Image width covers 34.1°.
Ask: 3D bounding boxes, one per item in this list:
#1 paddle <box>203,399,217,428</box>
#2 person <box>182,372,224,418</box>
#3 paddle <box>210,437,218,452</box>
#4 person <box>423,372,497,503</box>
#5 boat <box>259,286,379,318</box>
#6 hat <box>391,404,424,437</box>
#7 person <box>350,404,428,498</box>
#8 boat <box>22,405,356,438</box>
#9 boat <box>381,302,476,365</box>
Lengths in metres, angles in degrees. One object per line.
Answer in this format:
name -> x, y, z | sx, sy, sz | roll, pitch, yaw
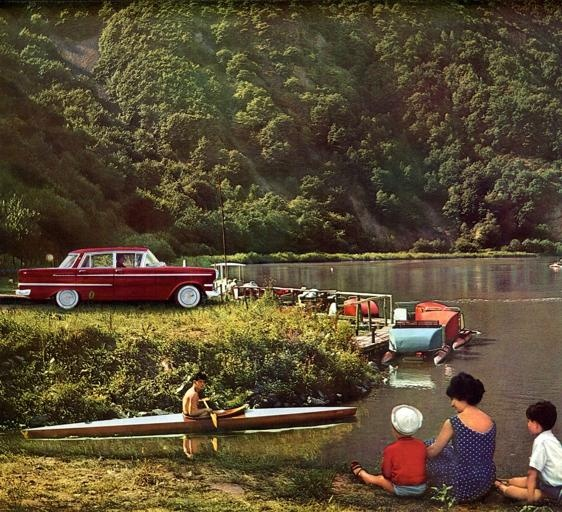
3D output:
paddle -> -1.323, 2.951, 17.088 | 0.276, 0.546, 0.618 | -1, -4, -6
person -> -1.517, 2.571, 16.957 | 0.594, 0.866, 1.784 | 0, -5, -9
paddle -> -1.205, 3.424, 16.638 | 0.155, 0.191, 0.246 | 11, -23, -23
person -> 2.887, 2.888, 14.452 | 1.039, 2.070, 0.653 | -1, -4, 9
boat -> 1.220, 1.323, 26.049 | 3.676, 0.904, 3.818 | 1, -5, -18
hat -> 2.026, 2.623, 14.485 | 0.449, 0.466, 0.263 | -2, -4, 16
person -> 2.011, 3.071, 15.050 | 1.139, 1.546, 1.272 | -3, 8, -15
boat -> -1.518, 3.193, 17.435 | 6.193, 0.445, 0.824 | 0, -5, -12
boat -> 3.861, 1.958, 23.497 | 1.186, 0.777, 2.789 | -1, 7, 17
